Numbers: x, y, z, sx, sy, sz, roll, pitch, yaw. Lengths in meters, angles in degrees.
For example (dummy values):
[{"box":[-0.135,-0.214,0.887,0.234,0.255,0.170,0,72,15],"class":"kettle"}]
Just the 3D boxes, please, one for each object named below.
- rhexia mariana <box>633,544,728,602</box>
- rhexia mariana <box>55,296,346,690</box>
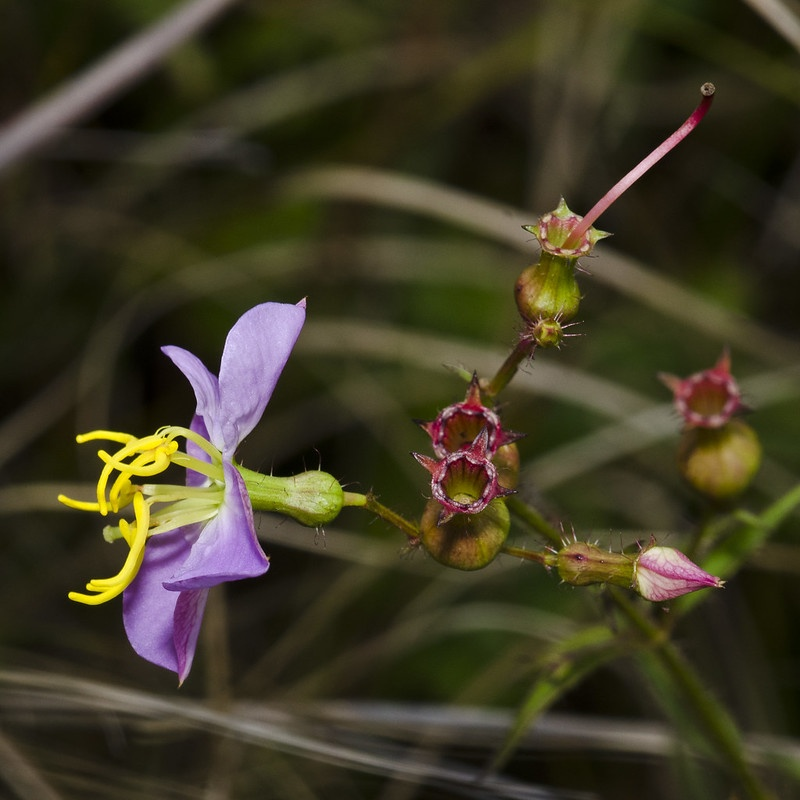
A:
[{"box":[0.677,0.433,2.507,0.235,0.140,0.098,-4,-55,56],"class":"rhexia mariana"},{"box":[-0.473,0.217,2.489,0.598,0.815,0.589,-7,-43,13],"class":"rhexia mariana"}]
